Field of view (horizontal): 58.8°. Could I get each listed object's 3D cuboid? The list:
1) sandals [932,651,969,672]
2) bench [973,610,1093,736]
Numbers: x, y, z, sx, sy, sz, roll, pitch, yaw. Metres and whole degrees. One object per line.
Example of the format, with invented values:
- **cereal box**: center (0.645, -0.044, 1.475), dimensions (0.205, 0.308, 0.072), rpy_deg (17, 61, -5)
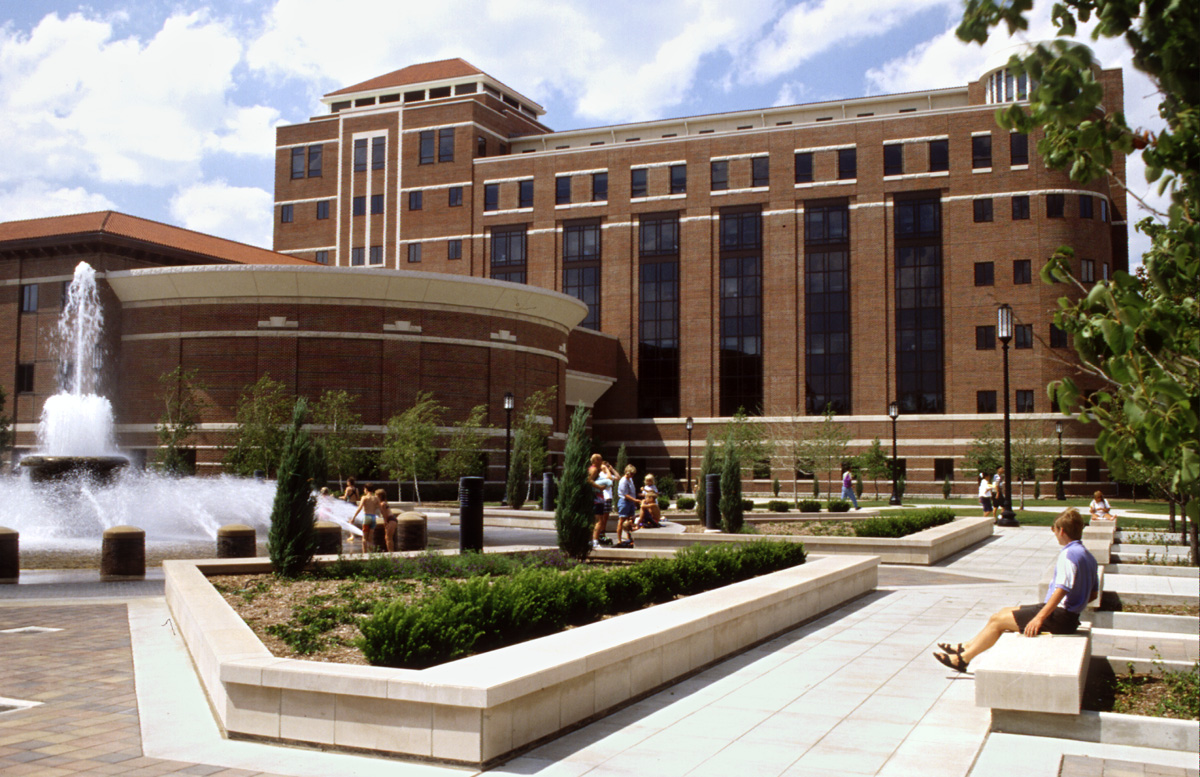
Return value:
- **sandals**: center (4.521, 3.504, 13.725), dimensions (0.410, 0.117, 0.147), rpy_deg (25, 3, 19)
- **bench**: center (4.837, 3.268, 11.927), dimensions (1.037, 0.777, 1.501), rpy_deg (-4, -6, 28)
